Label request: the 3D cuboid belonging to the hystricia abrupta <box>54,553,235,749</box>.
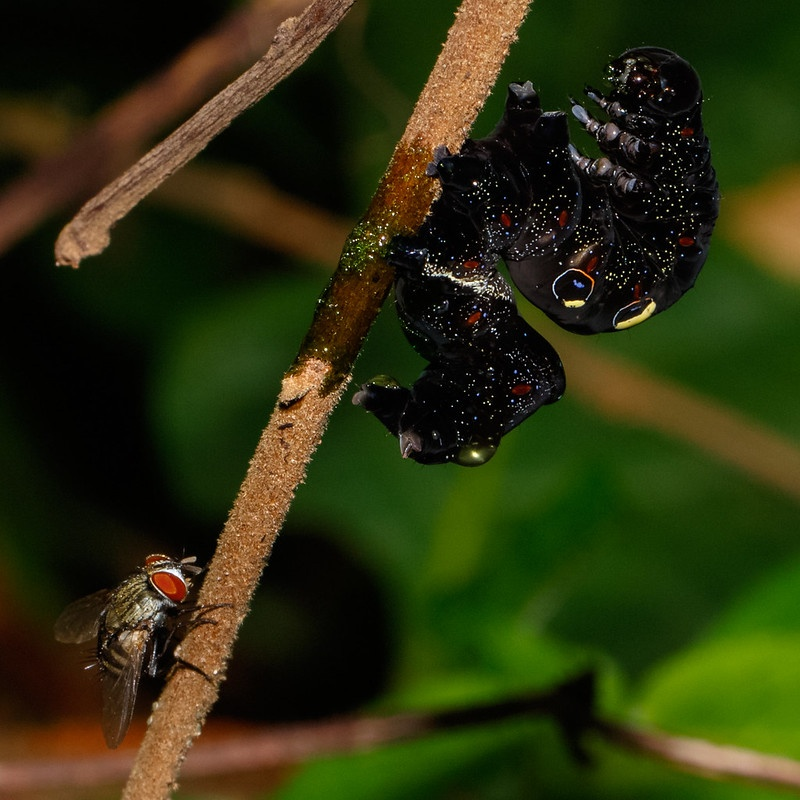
[{"bbox_3d":[-0.295,0.263,1.123,0.091,0.242,0.199,35,-93,-36],"label":"hystricia abrupta"}]
